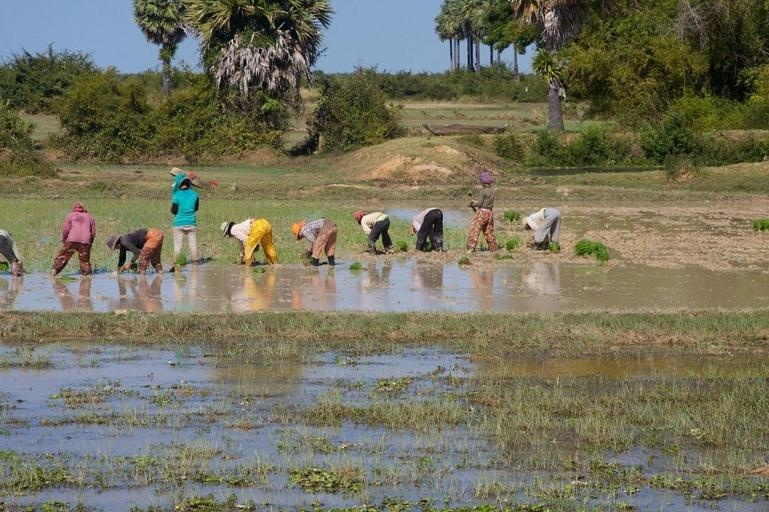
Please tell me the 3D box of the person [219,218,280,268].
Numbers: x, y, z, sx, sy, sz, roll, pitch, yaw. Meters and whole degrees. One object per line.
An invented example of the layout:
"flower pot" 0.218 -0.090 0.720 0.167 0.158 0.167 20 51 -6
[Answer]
"person" -4.734 -0.405 53.694 1.991 1.594 0.844 0 4 2

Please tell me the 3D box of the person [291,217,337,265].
"person" -2.447 -0.369 53.754 1.532 1.655 0.875 -5 -1 2

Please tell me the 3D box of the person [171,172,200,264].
"person" -6.776 -1.263 53.618 1.039 3.202 1.305 1 -1 -22
